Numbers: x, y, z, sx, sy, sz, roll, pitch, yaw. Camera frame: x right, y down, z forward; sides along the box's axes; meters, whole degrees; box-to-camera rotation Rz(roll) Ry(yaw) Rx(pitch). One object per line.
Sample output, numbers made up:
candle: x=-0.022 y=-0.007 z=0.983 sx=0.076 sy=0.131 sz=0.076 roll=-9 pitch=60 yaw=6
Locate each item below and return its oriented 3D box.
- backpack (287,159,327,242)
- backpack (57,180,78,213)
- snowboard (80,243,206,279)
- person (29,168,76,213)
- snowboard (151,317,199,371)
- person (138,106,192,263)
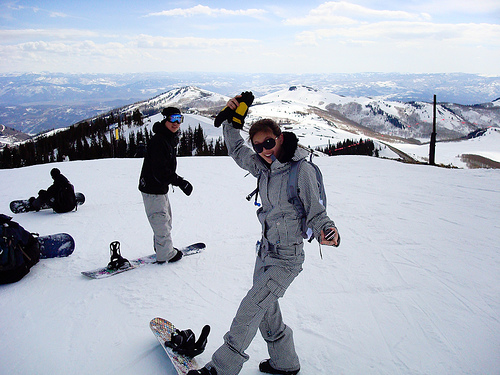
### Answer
backpack: x=0.726 y=0.199 z=4.215 sx=0.401 sy=1.073 sz=0.499 roll=13 pitch=24 yaw=41
backpack: x=-5.182 y=0.264 z=9.540 sx=0.264 sy=0.944 sz=0.538 roll=12 pitch=23 yaw=38
snowboard: x=-2.124 y=1.482 z=6.671 sx=0.344 sy=0.176 sz=2.081 roll=25 pitch=25 yaw=39
person: x=-5.712 y=0.146 z=9.706 sx=1.447 sy=1.270 sz=0.813 roll=4 pitch=-2 yaw=5
snowboard: x=-1.049 y=2.107 z=4.543 sx=0.302 sy=0.201 sz=1.308 roll=-6 pitch=28 yaw=-30
person: x=-1.553 y=0.132 z=6.247 sx=0.900 sy=3.056 sz=0.837 roll=-8 pitch=19 yaw=-16
